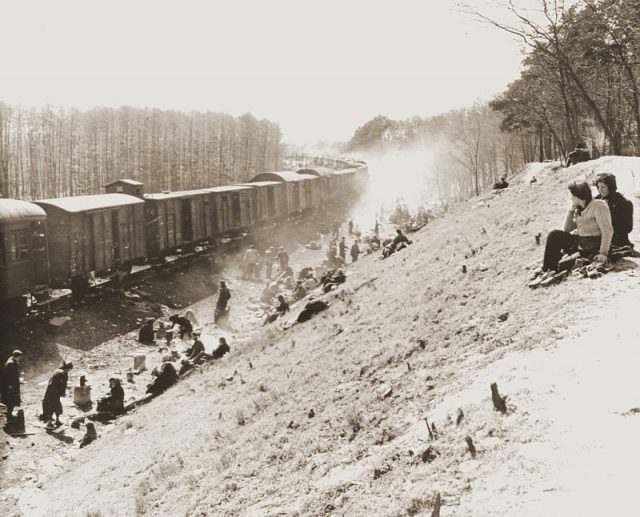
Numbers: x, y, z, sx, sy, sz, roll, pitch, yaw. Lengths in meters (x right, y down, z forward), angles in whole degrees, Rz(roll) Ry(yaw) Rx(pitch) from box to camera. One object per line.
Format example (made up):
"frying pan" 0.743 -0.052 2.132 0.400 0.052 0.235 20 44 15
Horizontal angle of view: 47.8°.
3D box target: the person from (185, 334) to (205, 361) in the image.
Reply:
"person" -4.217 3.057 24.374 0.685 0.949 0.558 4 -6 8

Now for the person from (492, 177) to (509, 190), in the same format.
"person" 6.946 -2.896 27.856 0.600 0.755 0.273 -6 26 -36

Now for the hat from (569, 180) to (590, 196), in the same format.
"hat" 5.149 -1.371 14.341 0.393 0.355 0.236 -5 5 23

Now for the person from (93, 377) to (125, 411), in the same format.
"person" -6.039 3.928 20.732 0.773 0.840 0.452 -9 4 -19

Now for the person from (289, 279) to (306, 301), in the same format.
"person" -0.858 1.331 29.094 0.625 0.894 0.610 5 6 24

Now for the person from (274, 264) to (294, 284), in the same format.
"person" -1.607 0.788 34.284 0.684 0.869 0.350 16 -9 39

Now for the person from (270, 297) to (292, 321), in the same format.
"person" -1.474 1.844 26.432 0.262 0.875 0.557 24 -10 -25

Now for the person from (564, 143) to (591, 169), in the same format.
"person" 8.650 -3.527 24.454 0.781 0.768 1.714 -6 5 20

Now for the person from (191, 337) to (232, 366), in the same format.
"person" -3.475 2.956 23.228 1.458 0.622 1.087 -5 5 24
